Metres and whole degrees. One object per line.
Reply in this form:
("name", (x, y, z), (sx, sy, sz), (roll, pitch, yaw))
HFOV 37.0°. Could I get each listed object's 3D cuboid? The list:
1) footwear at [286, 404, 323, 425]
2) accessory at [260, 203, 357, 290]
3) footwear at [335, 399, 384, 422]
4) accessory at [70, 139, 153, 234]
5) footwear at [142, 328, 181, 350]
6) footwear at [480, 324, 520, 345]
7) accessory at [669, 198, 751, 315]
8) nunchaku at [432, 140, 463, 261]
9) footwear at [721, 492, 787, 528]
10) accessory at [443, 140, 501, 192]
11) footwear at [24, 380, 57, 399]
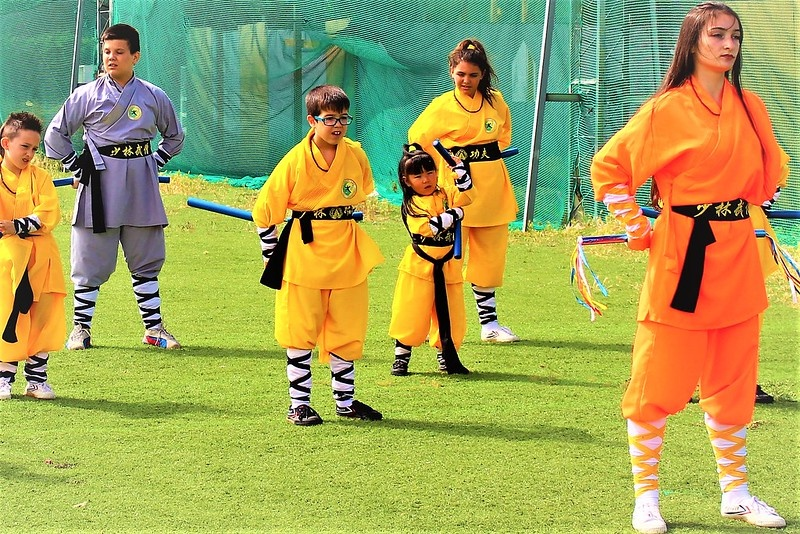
("footwear", (-0.653, 1.026, 8.268), (0.230, 0.070, 0.130), (-1, -2, 45))
("accessory", (-0.724, -0.133, 8.228), (0.615, 0.570, 0.184), (8, -1, -1))
("footwear", (-0.291, 1.006, 8.446), (0.386, 0.115, 0.118), (0, -3, 10))
("accessory", (-2.426, -0.700, 10.088), (0.662, 0.663, 0.457), (11, 15, 42))
("footwear", (-2.013, 0.605, 10.069), (0.389, 0.115, 0.143), (4, 1, 31))
("footwear", (0.864, 0.576, 10.300), (0.308, 0.094, 0.154), (0, -1, 18))
("accessory", (1.809, -0.067, 7.020), (0.456, 0.658, 0.232), (2, 9, 3))
("nunchaku", (0.398, -0.495, 9.285), (0.179, 0.990, 0.169), (-23, 22, -33))
("footwear", (2.085, 1.434, 7.087), (0.358, 0.104, 0.171), (3, 1, 25))
("accessory", (0.619, -0.881, 9.987), (0.387, 0.211, 0.329), (-4, 11, 6))
("footwear", (-2.632, 0.908, 8.800), (0.269, 0.086, 0.099), (0, -2, 20))
